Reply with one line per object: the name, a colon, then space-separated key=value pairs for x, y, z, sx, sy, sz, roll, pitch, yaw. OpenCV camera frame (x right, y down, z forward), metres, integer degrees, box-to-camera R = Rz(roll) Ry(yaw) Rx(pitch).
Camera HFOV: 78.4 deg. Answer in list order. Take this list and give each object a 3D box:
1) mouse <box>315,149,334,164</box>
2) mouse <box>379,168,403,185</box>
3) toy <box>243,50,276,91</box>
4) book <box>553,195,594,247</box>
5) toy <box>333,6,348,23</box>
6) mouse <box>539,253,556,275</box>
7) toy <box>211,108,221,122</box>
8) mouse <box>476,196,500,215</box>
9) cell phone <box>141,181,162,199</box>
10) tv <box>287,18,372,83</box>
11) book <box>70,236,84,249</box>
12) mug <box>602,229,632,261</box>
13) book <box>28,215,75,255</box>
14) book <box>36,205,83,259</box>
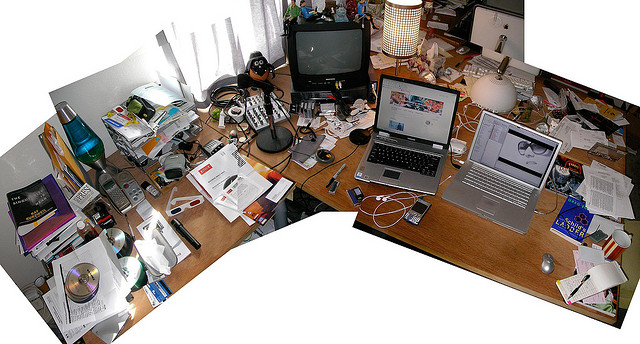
mouse: x=0.048 y=-0.151 z=3.732 sx=0.173 sy=0.090 sz=0.140 roll=-9 pitch=43 yaw=-4
mouse: x=0.649 y=0.039 z=3.585 sx=0.175 sy=0.069 sz=0.141 roll=11 pitch=45 yaw=17
toy: x=-0.665 y=-1.099 z=4.164 sx=0.287 sy=0.331 sz=0.357 roll=17 pitch=48 yaw=23
book: x=2.208 y=0.425 z=3.395 sx=0.266 sy=0.168 sz=0.369 roll=24 pitch=50 yaw=29
toy: x=0.226 y=-1.761 z=4.381 sx=0.158 sy=0.120 sz=0.341 roll=-3 pitch=42 yaw=3
mouse: x=1.869 y=0.760 z=3.211 sx=0.121 sy=0.044 sz=0.162 roll=-2 pitch=66 yaw=12
toy: x=-1.074 y=-0.591 z=4.005 sx=0.117 sy=0.046 sz=0.075 roll=-42 pitch=80 yaw=3
mouse: x=1.471 y=0.294 z=3.440 sx=0.161 sy=0.068 sz=0.126 roll=17 pitch=47 yaw=23
cell phone: x=-1.542 y=0.164 z=3.600 sx=0.106 sy=0.036 sz=0.178 roll=-42 pitch=79 yaw=-9
tv: x=0.106 y=-1.270 z=4.114 sx=1.131 sy=0.671 sz=0.569 roll=-4 pitch=47 yaw=0
book: x=-2.023 y=0.592 z=3.277 sx=0.103 sy=0.027 sz=0.056 roll=-45 pitch=101 yaw=-5
mug: x=2.431 y=0.606 z=3.236 sx=0.222 sy=0.211 sz=0.141 roll=-34 pitch=50 yaw=-27
book: x=-2.206 y=0.528 z=3.274 sx=0.460 sy=0.067 sz=0.114 roll=-39 pitch=93 yaw=-18
book: x=-2.136 y=0.478 z=3.232 sx=0.336 sy=0.065 sz=0.327 roll=-38 pitch=71 yaw=-28
